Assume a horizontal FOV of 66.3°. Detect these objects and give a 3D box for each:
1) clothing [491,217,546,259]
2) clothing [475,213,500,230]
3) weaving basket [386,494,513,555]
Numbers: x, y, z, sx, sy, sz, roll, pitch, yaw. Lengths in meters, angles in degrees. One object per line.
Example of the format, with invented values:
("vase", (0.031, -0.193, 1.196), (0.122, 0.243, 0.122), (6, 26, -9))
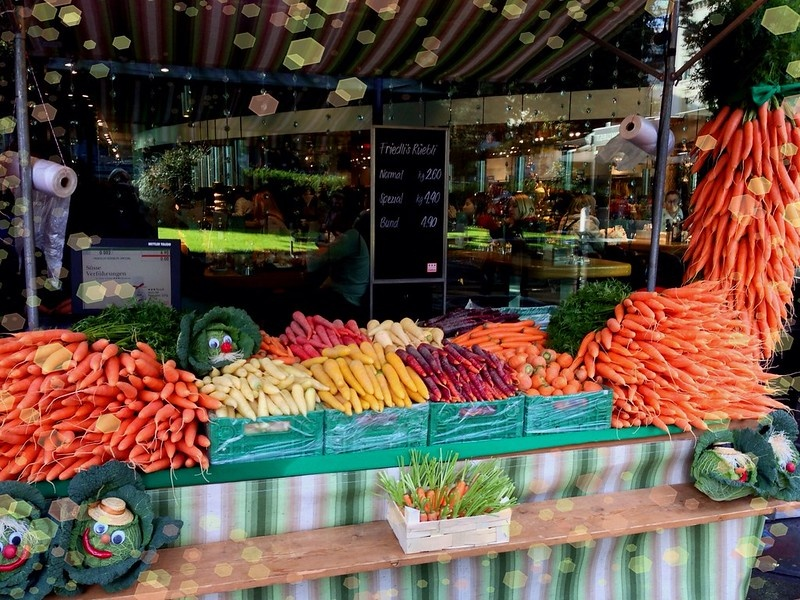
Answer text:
("clothing", (1.460, -0.833, 7.813), (0.534, 0.561, 0.184), (-1, 11, -7))
("clothing", (1.090, -0.992, 7.758), (0.246, 0.256, 0.173), (0, 12, 4))
("weaving basket", (0.257, 1.077, 2.938), (0.534, 0.214, 0.110), (-1, 8, -9))
